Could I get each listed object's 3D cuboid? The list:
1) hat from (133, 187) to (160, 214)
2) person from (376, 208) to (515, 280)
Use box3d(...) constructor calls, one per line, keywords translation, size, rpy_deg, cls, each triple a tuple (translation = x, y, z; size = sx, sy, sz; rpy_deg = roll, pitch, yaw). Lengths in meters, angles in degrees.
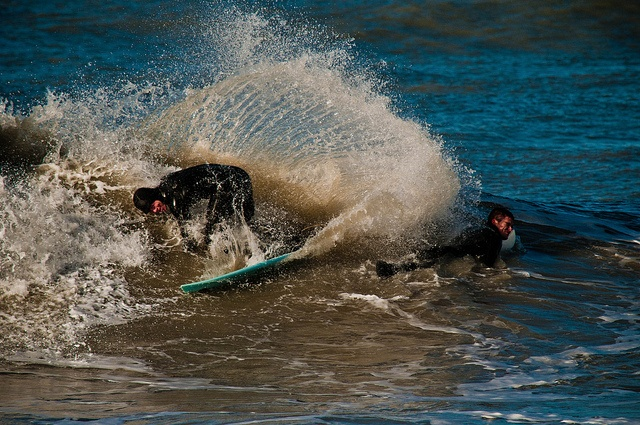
box3d(translation=(-3.671, -0.217, 23.030), size=(0.560, 0.644, 0.354), rpy_deg=(15, 56, -36), cls="hat")
box3d(translation=(2.666, 0.769, 23.343), size=(3.390, 0.965, 0.887), rpy_deg=(-10, 12, -20), cls="person")
